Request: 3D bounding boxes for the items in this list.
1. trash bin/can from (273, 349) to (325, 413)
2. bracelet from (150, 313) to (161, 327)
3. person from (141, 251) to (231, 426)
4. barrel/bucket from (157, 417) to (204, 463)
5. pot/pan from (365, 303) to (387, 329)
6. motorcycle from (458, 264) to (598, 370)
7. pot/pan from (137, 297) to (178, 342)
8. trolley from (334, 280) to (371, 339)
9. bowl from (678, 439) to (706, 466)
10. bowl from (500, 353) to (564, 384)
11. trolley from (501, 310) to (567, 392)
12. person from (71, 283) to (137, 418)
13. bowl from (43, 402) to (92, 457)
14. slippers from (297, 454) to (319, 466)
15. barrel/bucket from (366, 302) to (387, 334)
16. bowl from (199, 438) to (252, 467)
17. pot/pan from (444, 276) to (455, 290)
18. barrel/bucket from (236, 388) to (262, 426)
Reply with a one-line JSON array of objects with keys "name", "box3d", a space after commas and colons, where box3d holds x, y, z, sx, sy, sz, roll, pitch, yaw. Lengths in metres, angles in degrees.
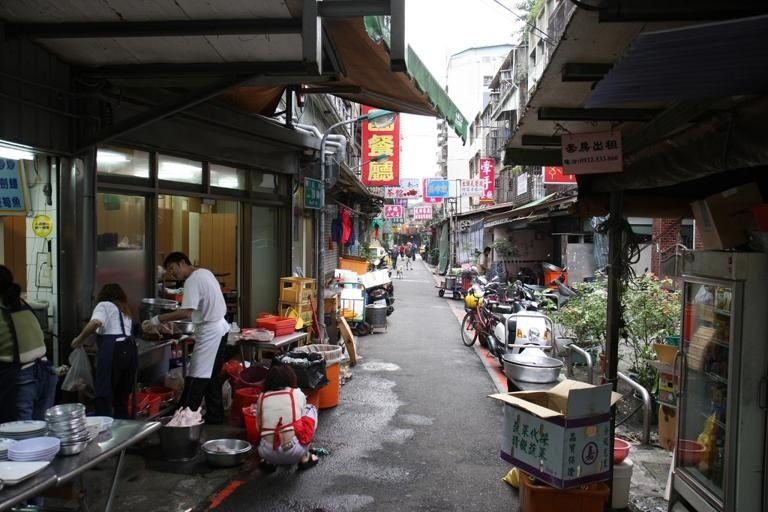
[{"name": "trash bin/can", "box3d": [-1.270, 1.844, 8.847, 0.762, 0.940, 0.742, -4, -2, 11]}, {"name": "bracelet", "box3d": [-3.135, 0.880, 8.216, 0.115, 0.164, 0.057, 4, 13, 10]}, {"name": "person", "box3d": [-2.644, 1.199, 8.312, 0.923, 2.481, 0.595, -2, 7, -16]}, {"name": "barrel/bucket", "box3d": [-2.587, 2.320, 7.597, 0.461, 0.362, 0.476, 0, -4, 0]}, {"name": "pot/pan", "box3d": [-0.203, 1.568, 15.526, 0.544, 0.606, 0.571, 0, -4, -2]}, {"name": "motorcycle", "box3d": [2.905, 1.281, 12.063, 1.382, 1.667, 2.733, 8, -3, -11]}, {"name": "pot/pan", "box3d": [-3.240, 0.938, 8.622, 0.555, 0.556, 0.534, 0, -7, -3]}, {"name": "trolley", "box3d": [-0.839, 1.348, 14.848, 0.669, 1.014, 1.047, -9, -14, -12]}, {"name": "bowl", "box3d": [3.156, 2.016, 6.122, 0.214, 0.137, 0.220, 0, -7, 0]}, {"name": "bowl", "box3d": [2.186, 1.662, 8.778, 0.667, 0.277, 0.686, 2, -13, 0]}, {"name": "trolley", "box3d": [2.374, 1.505, 9.542, 0.721, 1.186, 2.076, 1, 0, 0]}, {"name": "person", "box3d": [-3.482, 1.246, 7.546, 0.663, 1.715, 0.390, -4, 7, -28]}, {"name": "bowl", "box3d": [-2.947, 1.632, 5.634, 0.396, 0.358, 0.406, 0, -4, 0]}, {"name": "slippers", "box3d": [-0.949, 2.570, 7.502, 0.108, 0.113, 0.279, 2, 3, 31]}, {"name": "barrel/bucket", "box3d": [-0.226, 1.677, 15.740, 0.701, 0.958, 0.644, -1, -3, 0]}, {"name": "bowl", "box3d": [-1.994, 2.488, 7.570, 0.584, 0.245, 0.457, -2, 7, -13]}, {"name": "pot/pan", "box3d": [2.647, 1.106, 23.661, 0.426, 0.519, 0.436, 0, 1, 11]}, {"name": "barrel/bucket", "box3d": [-1.975, 2.145, 8.668, 0.355, 0.323, 0.410, 3, -5, -4]}]
